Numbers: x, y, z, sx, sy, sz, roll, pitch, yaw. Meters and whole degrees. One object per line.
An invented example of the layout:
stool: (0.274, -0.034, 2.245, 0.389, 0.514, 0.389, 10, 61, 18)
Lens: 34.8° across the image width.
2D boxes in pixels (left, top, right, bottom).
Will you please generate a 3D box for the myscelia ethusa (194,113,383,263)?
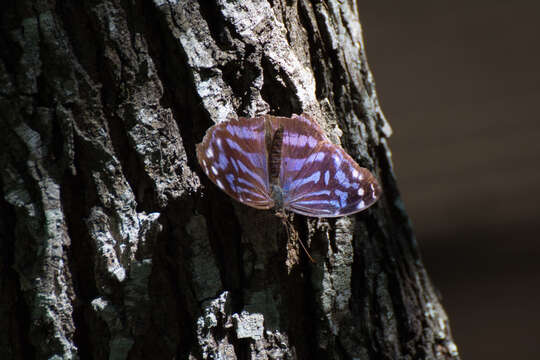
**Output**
myscelia ethusa: (0.067, -0.017, 3.045, 0.627, 0.541, 0.190, -1, 4, -31)
